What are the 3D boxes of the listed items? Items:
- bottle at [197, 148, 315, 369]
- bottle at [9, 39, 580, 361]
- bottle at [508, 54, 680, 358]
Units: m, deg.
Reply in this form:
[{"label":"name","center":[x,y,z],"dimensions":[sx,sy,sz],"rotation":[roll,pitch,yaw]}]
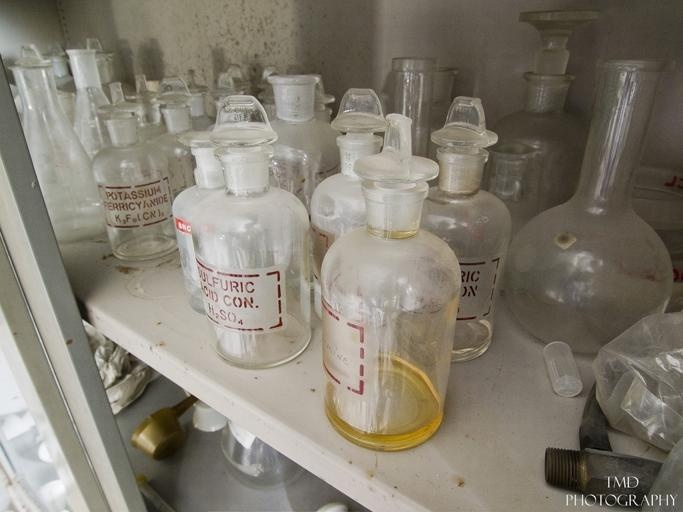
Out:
[{"label":"bottle","center":[-0.085,0.013,0.721],"dimensions":[0.148,0.285,0.127],"rotation":[4,29,7]},{"label":"bottle","center":[-0.104,-0.129,0.898],"dimensions":[0.848,0.449,0.242],"rotation":[7,24,17]},{"label":"bottle","center":[0.344,-0.060,0.742],"dimensions":[0.208,0.384,0.210],"rotation":[6,14,-2]}]
